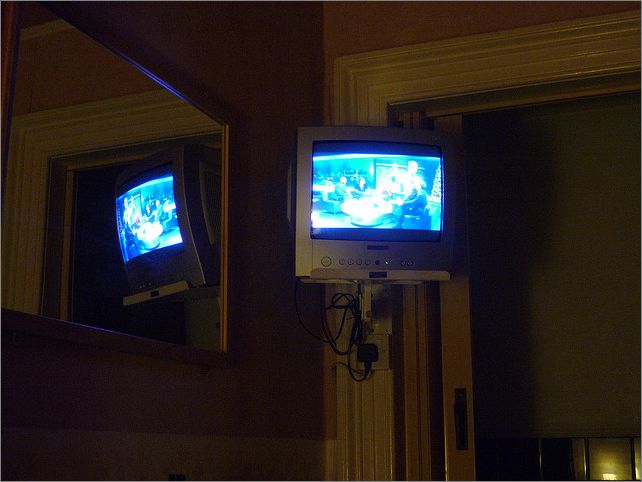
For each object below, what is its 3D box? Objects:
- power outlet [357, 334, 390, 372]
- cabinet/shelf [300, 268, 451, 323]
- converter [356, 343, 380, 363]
[{"bbox_3d":[0.185,0.404,2.221,0.127,0.146,0.073,0,-2,4],"label":"power outlet"},{"bbox_3d":[0.198,0.182,2.161,0.476,0.178,0.321,1,-1,9],"label":"cabinet/shelf"},{"bbox_3d":[0.165,0.395,2.206,0.066,0.067,0.016,3,-4,0],"label":"converter"}]
